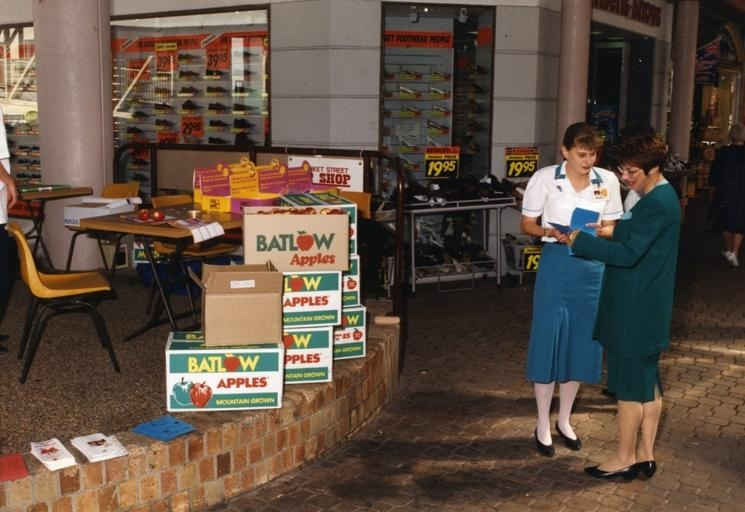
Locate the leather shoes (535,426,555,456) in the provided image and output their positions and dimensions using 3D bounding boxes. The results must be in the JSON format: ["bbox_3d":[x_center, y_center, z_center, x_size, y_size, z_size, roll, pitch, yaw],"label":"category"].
[{"bbox_3d":[1.325,1.449,4.871,0.095,0.066,0.248,0,1,3],"label":"leather shoes"}]

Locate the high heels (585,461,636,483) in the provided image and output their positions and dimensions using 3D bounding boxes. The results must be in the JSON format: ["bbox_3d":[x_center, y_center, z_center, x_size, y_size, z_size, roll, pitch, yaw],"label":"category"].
[{"bbox_3d":[1.714,1.545,4.592,0.365,0.113,0.121,4,0,5],"label":"high heels"}]

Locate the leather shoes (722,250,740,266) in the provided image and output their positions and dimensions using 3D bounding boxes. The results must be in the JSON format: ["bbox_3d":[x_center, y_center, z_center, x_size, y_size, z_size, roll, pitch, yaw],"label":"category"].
[{"bbox_3d":[6.024,0.029,10.674,0.144,0.143,0.362,-16,15,10],"label":"leather shoes"}]

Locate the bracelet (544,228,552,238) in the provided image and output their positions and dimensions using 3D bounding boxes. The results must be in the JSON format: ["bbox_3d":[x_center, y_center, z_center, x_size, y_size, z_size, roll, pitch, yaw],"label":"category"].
[{"bbox_3d":[1.254,-0.168,4.615,0.061,0.054,0.042,-34,33,-24],"label":"bracelet"}]

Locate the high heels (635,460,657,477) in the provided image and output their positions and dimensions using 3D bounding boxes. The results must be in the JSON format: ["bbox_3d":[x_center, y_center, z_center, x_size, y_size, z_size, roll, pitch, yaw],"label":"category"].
[{"bbox_3d":[1.944,1.512,4.539,0.096,0.090,0.142,9,9,32],"label":"high heels"}]

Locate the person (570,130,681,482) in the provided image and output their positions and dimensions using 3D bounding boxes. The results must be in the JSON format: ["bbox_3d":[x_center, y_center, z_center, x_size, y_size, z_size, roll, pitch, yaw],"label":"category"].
[{"bbox_3d":[1.764,0.378,4.449,0.767,2.399,0.557,2,17,4],"label":"person"}]

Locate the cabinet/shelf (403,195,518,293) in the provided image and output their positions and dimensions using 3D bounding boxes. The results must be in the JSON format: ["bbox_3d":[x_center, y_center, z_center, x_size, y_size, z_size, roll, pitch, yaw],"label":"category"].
[{"bbox_3d":[1.283,-0.143,9.191,1.456,0.897,0.725,-5,22,-11],"label":"cabinet/shelf"}]

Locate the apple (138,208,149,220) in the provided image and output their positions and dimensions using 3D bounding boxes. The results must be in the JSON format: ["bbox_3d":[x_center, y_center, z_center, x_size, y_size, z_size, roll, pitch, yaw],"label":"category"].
[{"bbox_3d":[-2.115,-0.396,5.962,0.112,0.089,0.101,7,5,-16],"label":"apple"}]

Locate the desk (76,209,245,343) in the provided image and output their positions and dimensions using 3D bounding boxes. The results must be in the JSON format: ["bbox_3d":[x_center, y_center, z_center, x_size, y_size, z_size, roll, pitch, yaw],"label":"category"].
[{"bbox_3d":[-2.437,0.188,6.854,1.372,0.937,2.381,0,5,-31],"label":"desk"}]

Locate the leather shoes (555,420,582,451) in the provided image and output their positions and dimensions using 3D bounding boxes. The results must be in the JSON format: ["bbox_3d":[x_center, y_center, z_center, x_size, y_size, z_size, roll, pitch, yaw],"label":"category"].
[{"bbox_3d":[1.525,1.414,4.983,0.103,0.089,0.263,-7,13,-21],"label":"leather shoes"}]

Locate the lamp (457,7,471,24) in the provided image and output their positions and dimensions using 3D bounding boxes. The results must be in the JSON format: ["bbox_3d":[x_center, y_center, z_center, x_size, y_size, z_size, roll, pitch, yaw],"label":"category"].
[{"bbox_3d":[1.383,-3.648,9.668,0.166,0.191,0.266,3,15,7],"label":"lamp"}]

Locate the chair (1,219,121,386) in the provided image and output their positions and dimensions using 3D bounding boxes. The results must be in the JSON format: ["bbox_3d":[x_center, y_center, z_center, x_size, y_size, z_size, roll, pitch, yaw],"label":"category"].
[{"bbox_3d":[-2.688,0.332,5.495,1.004,0.993,0.893,8,9,-12],"label":"chair"}]
